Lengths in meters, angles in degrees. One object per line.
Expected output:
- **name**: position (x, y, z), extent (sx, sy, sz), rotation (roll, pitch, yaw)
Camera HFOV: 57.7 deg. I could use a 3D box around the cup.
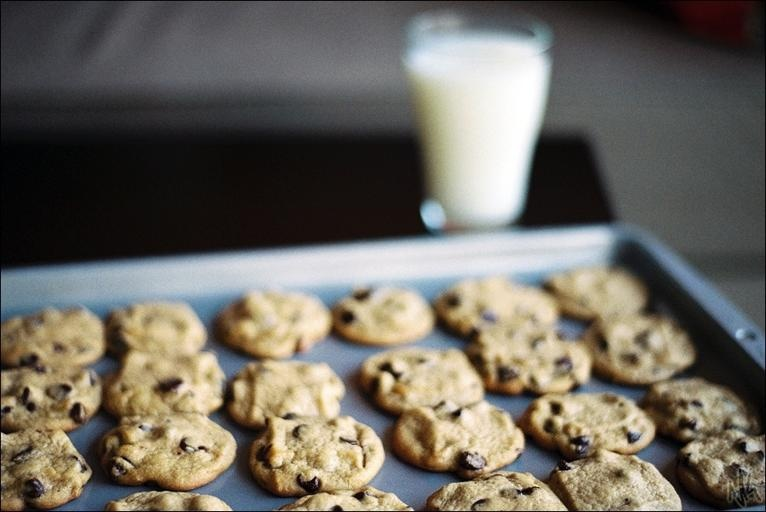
- **cup**: position (0.122, -0.165, 0.901), extent (0.169, 0.247, 0.165), rotation (0, 15, 0)
